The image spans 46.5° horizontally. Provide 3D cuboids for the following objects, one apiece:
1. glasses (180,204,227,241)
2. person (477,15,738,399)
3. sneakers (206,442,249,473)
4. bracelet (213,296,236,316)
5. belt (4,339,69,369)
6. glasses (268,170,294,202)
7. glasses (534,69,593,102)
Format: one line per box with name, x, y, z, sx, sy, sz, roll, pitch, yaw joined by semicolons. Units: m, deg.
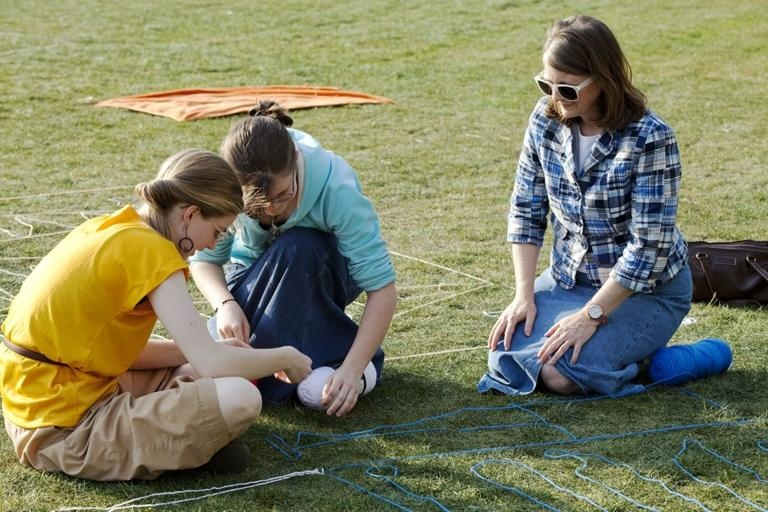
glasses;-0.812;-0.146;4.080;0.142;0.072;0.175;16;5;-36
person;1.098;-0.263;4.674;1.116;1.889;0.820;1;21;18
sneakers;-0.695;0.932;4.070;0.185;0.068;0.133;-15;18;11
bracelet;-0.822;0.268;4.611;0.085;0.088;0.030;-21;70;-47
belt;-1.563;0.446;3.987;0.165;0.034;0.139;18;5;-17
glasses;-0.490;-0.330;4.348;0.043;0.129;0.141;7;-20;-38
glasses;0.992;-0.860;4.706;0.213;0.063;0.210;18;40;41
